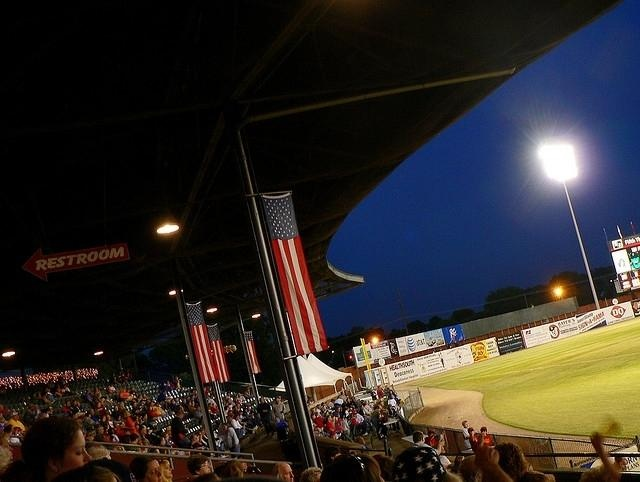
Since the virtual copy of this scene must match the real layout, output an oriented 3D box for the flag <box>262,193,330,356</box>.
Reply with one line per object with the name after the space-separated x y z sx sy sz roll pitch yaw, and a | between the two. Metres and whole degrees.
-0.621 0.571 11.477 0.797 3.836 1.038 -12 -11 -4 | flag
